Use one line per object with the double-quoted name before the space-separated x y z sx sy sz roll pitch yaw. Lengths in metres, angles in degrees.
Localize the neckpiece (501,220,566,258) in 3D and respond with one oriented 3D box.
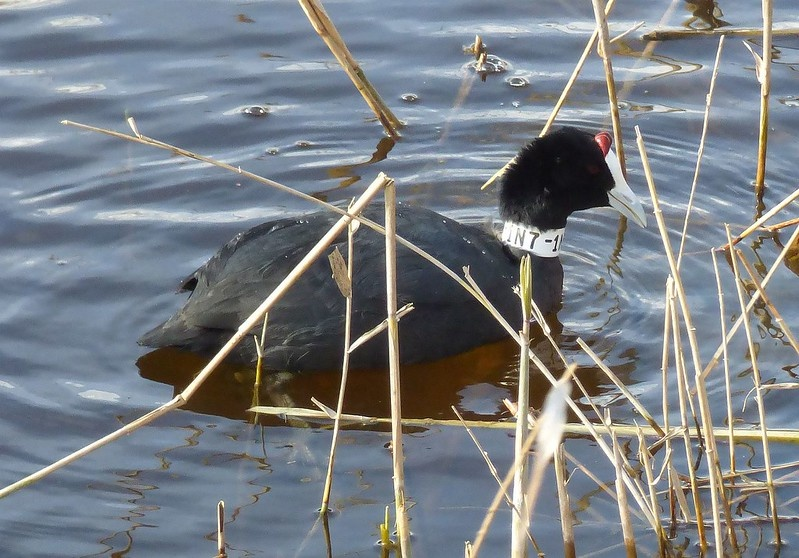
"neckpiece" 1.026 -0.312 7.354 0.473 0.132 0.358 16 13 38
